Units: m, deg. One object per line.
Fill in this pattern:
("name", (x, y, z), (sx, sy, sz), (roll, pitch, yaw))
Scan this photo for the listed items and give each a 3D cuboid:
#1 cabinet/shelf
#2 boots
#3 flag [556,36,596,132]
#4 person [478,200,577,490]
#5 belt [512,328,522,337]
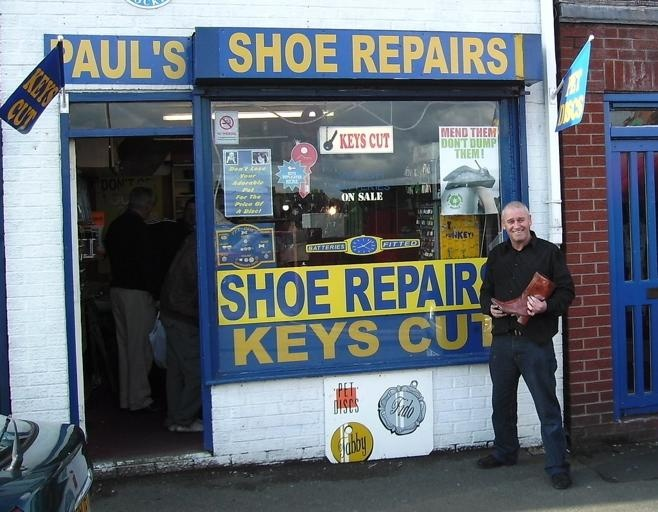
("cabinet/shelf", (-1.259, -0.643, 7.450), (0.687, 0.791, 0.228), (-7, 3, -12))
("boots", (1.481, 0.326, 5.864), (0.465, 0.397, 0.221), (-2, -1, 16))
("flag", (1.943, -1.369, 6.116), (0.174, 0.488, 0.566), (-1, 0, -5))
("person", (1.462, 0.662, 6.009), (0.664, 2.170, 0.870), (-2, 2, -38))
("belt", (1.460, 0.585, 5.944), (0.065, 0.068, 0.033), (-2, -1, 20))
